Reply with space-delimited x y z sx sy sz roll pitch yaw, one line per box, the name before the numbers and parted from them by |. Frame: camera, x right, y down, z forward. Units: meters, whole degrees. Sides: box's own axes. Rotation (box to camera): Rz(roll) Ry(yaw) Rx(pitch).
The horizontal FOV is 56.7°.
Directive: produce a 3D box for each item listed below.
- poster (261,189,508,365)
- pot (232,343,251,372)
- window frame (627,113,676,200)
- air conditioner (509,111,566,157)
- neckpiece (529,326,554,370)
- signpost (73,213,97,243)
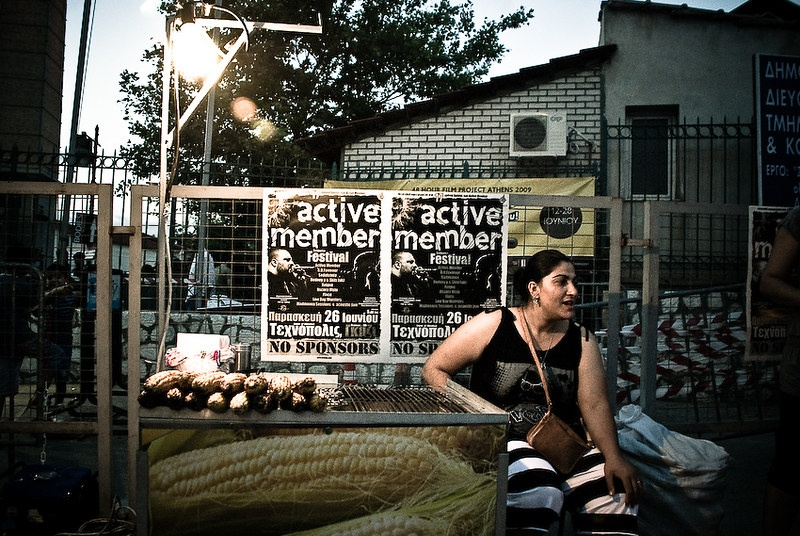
poster | -0.245 0.104 7.153 1.676 1.223 0.025 0 3 -2
pot | -1.405 0.805 6.639 0.209 0.344 0.210 0 1 0
window frame | 4.785 -2.278 14.228 0.931 1.887 2.174 0 1 21
air conditioner | 2.683 -2.494 14.611 1.414 1.071 0.767 0 -5 6
neckpiece | 1.218 0.730 6.443 0.135 0.249 0.061 -12 19 40
signpost | -3.441 -0.437 8.155 0.267 0.306 0.041 21 29 12
